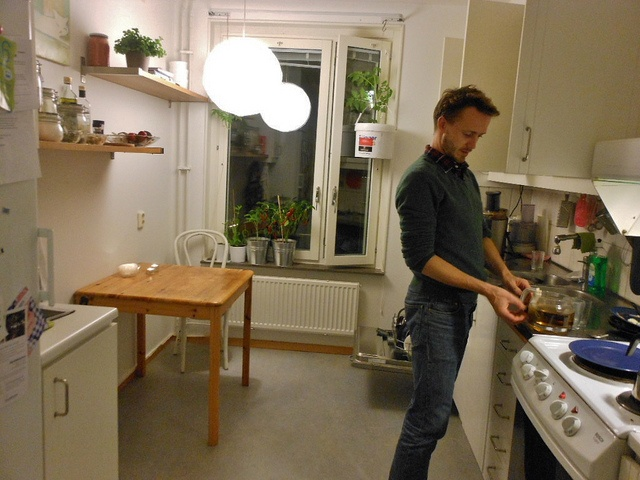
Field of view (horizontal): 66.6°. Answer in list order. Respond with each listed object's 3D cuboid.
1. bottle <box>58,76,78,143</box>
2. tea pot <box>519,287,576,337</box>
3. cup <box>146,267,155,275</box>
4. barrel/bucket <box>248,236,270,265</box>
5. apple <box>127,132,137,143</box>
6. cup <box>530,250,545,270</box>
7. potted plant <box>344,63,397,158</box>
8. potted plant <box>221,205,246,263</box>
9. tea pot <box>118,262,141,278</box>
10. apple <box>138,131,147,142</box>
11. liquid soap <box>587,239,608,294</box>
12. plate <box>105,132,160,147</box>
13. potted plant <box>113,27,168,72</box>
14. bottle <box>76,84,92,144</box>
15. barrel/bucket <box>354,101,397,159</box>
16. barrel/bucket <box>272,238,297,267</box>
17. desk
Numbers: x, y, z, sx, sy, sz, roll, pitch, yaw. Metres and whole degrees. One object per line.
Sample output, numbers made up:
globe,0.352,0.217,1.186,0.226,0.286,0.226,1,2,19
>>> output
bottle,-1.292,-0.662,2.489,0.083,0.321,0.198,-2,11,-27
tea pot,0.984,0.314,2.147,0.210,0.170,0.164,-1,7,7
cup,-1.132,0.207,3.225,0.039,0.031,0.040,3,15,-1
barrel/bucket,-0.518,0.087,4.145,0.205,0.193,0.191,0,10,0
apple,-1.118,-0.603,2.866,0.063,0.049,0.058,4,5,33
cup,1.405,0.134,3.143,0.070,0.110,0.178,7,10,23
potted plant,0.434,-0.995,3.918,0.386,0.702,0.323,7,5,24
potted plant,-0.730,0.001,4.131,0.146,0.335,0.117,5,-7,-5
tea pot,-1.255,0.191,3.162,0.086,0.058,0.093,-3,5,0
apple,-1.057,-0.622,2.897,0.062,0.050,0.071,1,-1,-11
liquid soap,1.531,0.143,2.676,0.109,0.268,0.255,8,11,30
plate,-1.120,-0.587,2.815,0.176,0.099,0.345,9,11,28
potted plant,-1.137,-1.142,3.092,0.294,0.238,0.319,14,18,23
bottle,-1.309,-0.707,2.709,0.070,0.297,0.455,-2,11,-25
barrel/bucket,0.415,-0.841,3.772,0.353,0.471,0.257,0,5,-5
barrel/bucket,-0.301,0.111,4.137,0.212,0.205,0.205,0,8,0
desk,-0.914,0.563,3.189,0.938,0.861,0.988,2,7,9
